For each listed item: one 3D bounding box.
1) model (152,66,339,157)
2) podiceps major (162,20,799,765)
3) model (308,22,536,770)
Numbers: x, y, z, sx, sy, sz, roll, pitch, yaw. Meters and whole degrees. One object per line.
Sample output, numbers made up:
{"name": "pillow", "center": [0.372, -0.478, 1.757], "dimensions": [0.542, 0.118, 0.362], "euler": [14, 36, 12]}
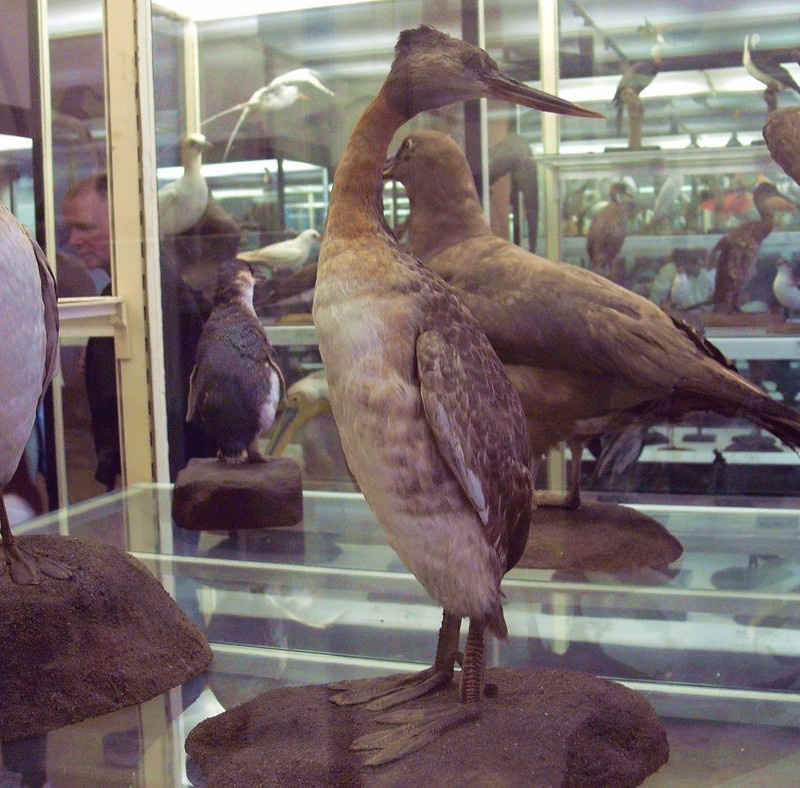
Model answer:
{"name": "model", "center": [-0.197, -0.457, 1.773], "dimensions": [0.160, 0.065, 0.109], "euler": [-7, 31, 29]}
{"name": "podiceps major", "center": [0.095, -0.024, 1.731], "dimensions": [0.970, 0.622, 0.958], "euler": [3, 11, 24]}
{"name": "model", "center": [0.015, -0.030, 1.414], "dimensions": [0.300, 0.846, 0.283], "euler": [-3, 5, -42]}
